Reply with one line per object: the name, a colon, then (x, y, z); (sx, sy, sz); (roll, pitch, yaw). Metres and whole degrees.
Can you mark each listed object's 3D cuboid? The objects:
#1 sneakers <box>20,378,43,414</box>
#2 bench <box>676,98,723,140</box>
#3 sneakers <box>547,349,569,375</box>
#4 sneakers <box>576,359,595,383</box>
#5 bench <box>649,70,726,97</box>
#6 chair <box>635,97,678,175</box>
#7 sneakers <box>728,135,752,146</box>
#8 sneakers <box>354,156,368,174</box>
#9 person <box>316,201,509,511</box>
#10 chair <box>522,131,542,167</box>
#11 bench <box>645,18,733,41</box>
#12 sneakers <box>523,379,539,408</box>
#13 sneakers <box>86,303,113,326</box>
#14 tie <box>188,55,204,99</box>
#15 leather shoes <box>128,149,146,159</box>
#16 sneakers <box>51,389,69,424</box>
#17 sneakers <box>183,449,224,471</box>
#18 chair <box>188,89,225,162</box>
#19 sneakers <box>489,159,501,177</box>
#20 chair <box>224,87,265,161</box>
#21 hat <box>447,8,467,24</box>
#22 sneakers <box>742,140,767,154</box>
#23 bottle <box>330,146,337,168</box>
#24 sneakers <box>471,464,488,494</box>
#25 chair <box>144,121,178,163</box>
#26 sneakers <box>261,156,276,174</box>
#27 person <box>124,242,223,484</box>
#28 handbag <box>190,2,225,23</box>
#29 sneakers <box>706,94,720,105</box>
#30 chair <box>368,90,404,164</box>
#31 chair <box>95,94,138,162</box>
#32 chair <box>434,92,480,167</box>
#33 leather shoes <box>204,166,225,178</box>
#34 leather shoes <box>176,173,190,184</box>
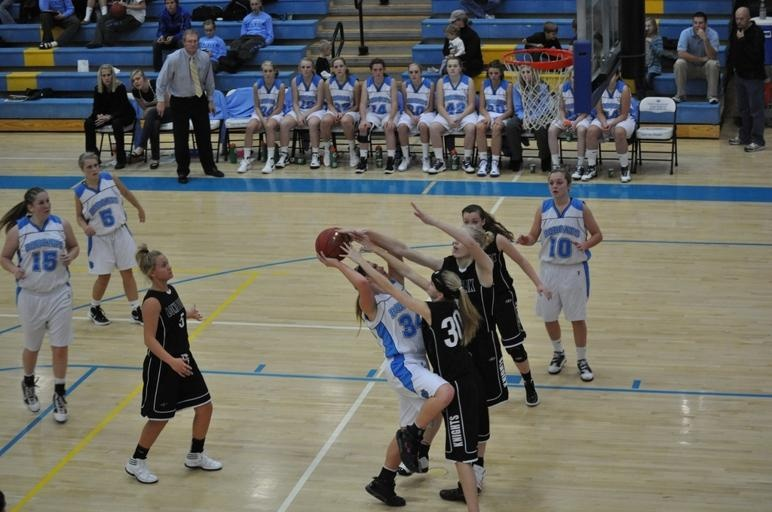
sneakers: (-3.614, 1.430, 8.797); (0.131, 0.323, 0.212); (-15, -22, -33)
bench: (5.739, -2.478, 15.862); (0.792, 0.461, 0.768); (3, 18, 13)
sneakers: (1.807, 1.118, 9.087); (0.114, 0.143, 0.323); (4, 22, 26)
sneakers: (2.055, 1.180, 8.914); (0.114, 0.117, 0.281); (-5, 20, -4)
bench: (5.658, -3.203, 16.263); (1.252, 0.450, 0.631); (1, 11, 15)
chair: (4.536, -2.020, 14.539); (0.805, 1.062, 0.860); (2, 0, 34)
sneakers: (6.402, -2.074, 15.636); (0.379, 0.150, 0.134); (5, 26, 4)
sneakers: (-0.439, -1.607, 15.347); (0.231, 0.270, 0.389); (-2, 11, -2)
person: (0.418, 0.867, 7.443); (1.195, 2.517, 1.279); (-1, 11, 6)
chair: (2.529, -1.795, 14.768); (0.430, 0.663, 0.600); (-1, 11, 3)
bench: (6.028, -4.420, 16.984); (1.318, 0.501, 0.780); (1, 11, 16)
sneakers: (1.438, 1.366, 8.577); (0.104, 0.126, 0.288); (-4, 51, 6)
sneakers: (-3.433, 0.706, 10.309); (0.371, 0.174, 0.138); (16, 21, 41)
tie: (-3.185, -2.976, 14.473); (0.136, 0.638, 0.245); (-2, 11, 2)
leather shoes: (-4.686, -1.932, 16.430); (0.175, 0.139, 0.428); (5, 0, -1)
sneakers: (-3.246, 1.473, 8.624); (0.134, 0.159, 0.349); (-6, 48, -25)
sneakers: (-1.689, 1.875, 8.000); (0.352, 0.146, 0.153); (1, 10, -6)
chair: (-3.359, -2.423, 16.110); (0.665, 1.053, 0.741); (0, -13, -12)
sneakers: (1.841, -1.488, 14.679); (0.179, 0.279, 0.302); (0, 11, 7)
chair: (-2.753, -2.496, 16.503); (0.743, 1.131, 0.858); (-1, -1, -10)
hat: (1.327, -4.399, 15.939); (0.549, 0.266, 0.365); (-1, 17, 2)
sneakers: (6.448, -1.905, 15.189); (0.454, 0.179, 0.159); (1, 28, -5)
bottle: (-0.959, -1.794, 15.704); (0.126, 0.361, 0.381); (-3, 11, -3)
sneakers: (0.812, 1.895, 7.499); (0.197, 0.221, 0.244); (0, 27, 6)
chair: (-4.407, -2.228, 16.759); (0.515, 0.720, 2.427); (-5, 11, -14)
sneakers: (-2.122, -1.609, 15.496); (0.233, 0.257, 0.429); (-3, 11, -6)
person: (-1.970, 0.967, 7.812); (0.832, 2.096, 0.556); (-3, 12, -5)
handbag: (-3.910, -5.262, 18.917); (0.651, 0.221, 0.475); (2, 31, 11)
sneakers: (5.960, -2.817, 15.733); (0.107, 0.113, 0.282); (-1, 1, 8)
chair: (-0.098, -2.282, 15.128); (0.791, 1.658, 0.558); (-2, 11, 0)
chair: (-4.961, -2.353, 15.982); (0.717, 1.020, 0.680); (21, 18, 22)
chair: (1.286, -2.088, 14.899); (0.645, 1.308, 0.567); (0, 11, 8)
leather shoes: (-3.029, -1.481, 15.325); (0.428, 0.173, 0.155); (7, 24, 20)
leather shoes: (-3.518, -1.333, 14.974); (0.198, 0.177, 0.475); (-1, 5, -15)
